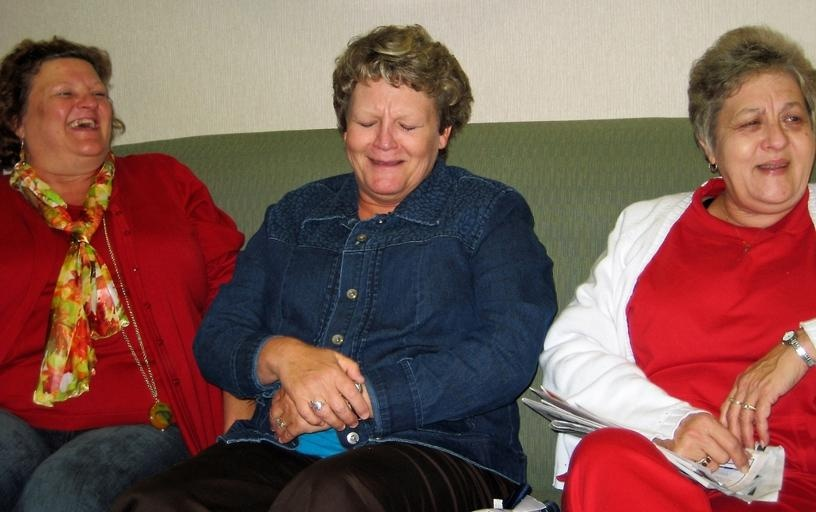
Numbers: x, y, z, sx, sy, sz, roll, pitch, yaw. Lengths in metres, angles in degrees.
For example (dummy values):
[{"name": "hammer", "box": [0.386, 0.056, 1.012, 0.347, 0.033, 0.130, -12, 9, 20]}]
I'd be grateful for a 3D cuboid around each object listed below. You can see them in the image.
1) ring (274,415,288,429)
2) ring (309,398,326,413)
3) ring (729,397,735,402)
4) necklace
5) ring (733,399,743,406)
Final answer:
[{"name": "ring", "box": [-0.350, 0.456, 1.851, 0.041, 0.031, 0.011, 16, 22, 41]}, {"name": "ring", "box": [-0.237, 0.394, 1.777, 0.031, 0.037, 0.014, 3, 32, 6]}, {"name": "ring", "box": [0.847, 0.377, 1.772, 0.027, 0.008, 0.007, 7, 7, -6]}, {"name": "necklace", "box": [-0.870, 0.127, 2.104, 0.115, 0.902, 0.056, -14, -10, -17]}, {"name": "ring", "box": [0.856, 0.382, 1.759, 0.022, 0.012, 0.008, 11, 19, 31]}]
